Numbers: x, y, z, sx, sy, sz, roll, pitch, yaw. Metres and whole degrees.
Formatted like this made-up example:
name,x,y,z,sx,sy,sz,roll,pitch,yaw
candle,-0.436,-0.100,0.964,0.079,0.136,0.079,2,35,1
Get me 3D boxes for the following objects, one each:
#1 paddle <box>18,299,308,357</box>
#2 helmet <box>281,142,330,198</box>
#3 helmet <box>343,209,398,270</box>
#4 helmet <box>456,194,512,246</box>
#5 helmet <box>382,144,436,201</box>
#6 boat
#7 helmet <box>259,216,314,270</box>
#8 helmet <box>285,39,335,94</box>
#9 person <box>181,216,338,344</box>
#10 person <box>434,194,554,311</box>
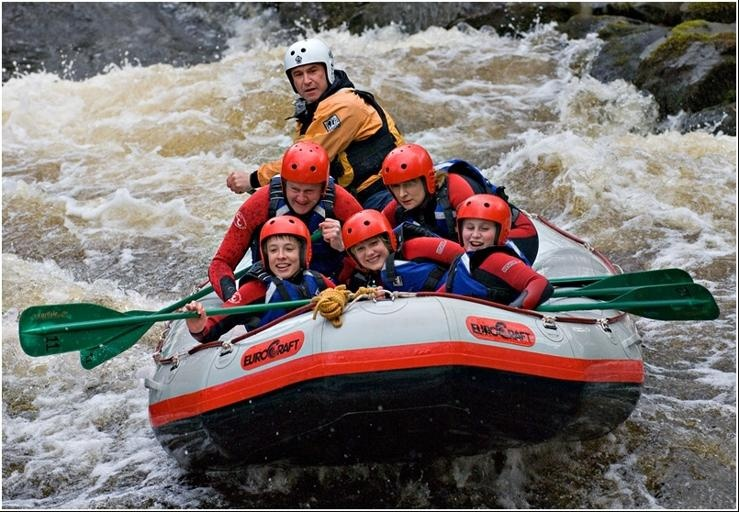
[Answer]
name,x,y,z,sx,sy,sz,roll,pitch,yaw
paddle,-1.691,0.553,7.123,2.736,0.467,0.120,-1,29,-34
helmet,-0.587,-0.839,7.235,0.409,0.454,0.547,6,28,-3
helmet,0.050,-0.174,6.972,0.391,0.451,0.525,-28,-4,15
helmet,1.027,-0.340,6.819,0.444,0.392,0.488,5,15,18
helmet,0.377,-0.782,7.337,0.573,0.453,0.447,-19,18,-37
boat,0.107,0.823,6.582,2.665,0.888,1.930,-12,5,7
helmet,-0.648,-0.052,6.905,0.401,0.508,0.466,-8,70,31
helmet,-0.588,-1.976,8.115,0.449,0.452,0.560,1,19,35
person,-0.923,0.234,6.941,1.227,0.733,0.361,-15,9,-40
person,1.016,-0.008,6.774,0.490,0.605,0.925,33,54,-10
